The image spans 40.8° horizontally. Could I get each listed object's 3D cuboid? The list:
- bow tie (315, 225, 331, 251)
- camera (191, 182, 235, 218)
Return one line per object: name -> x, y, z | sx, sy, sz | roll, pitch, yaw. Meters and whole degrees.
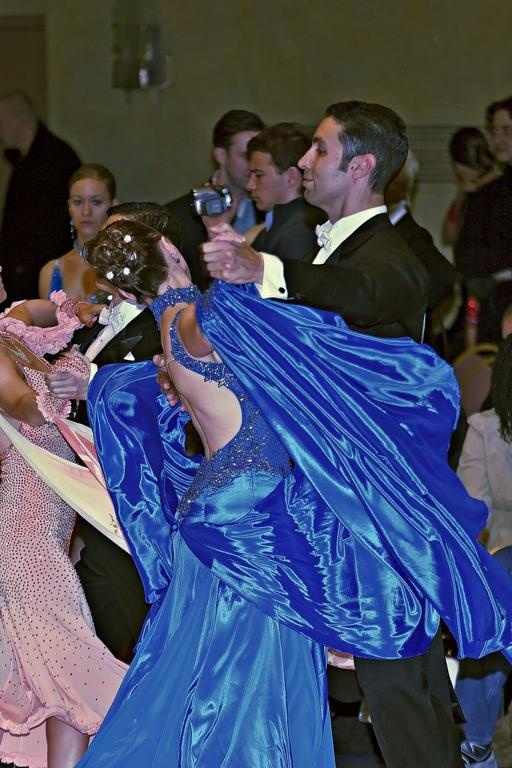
bow tie -> 0.176, -0.366, 1.727 | 0.053, 0.063, 0.023 | -7, -15, 41
camera -> -0.100, -0.385, 1.448 | 0.092, 0.081, 0.063 | -6, 10, -10
